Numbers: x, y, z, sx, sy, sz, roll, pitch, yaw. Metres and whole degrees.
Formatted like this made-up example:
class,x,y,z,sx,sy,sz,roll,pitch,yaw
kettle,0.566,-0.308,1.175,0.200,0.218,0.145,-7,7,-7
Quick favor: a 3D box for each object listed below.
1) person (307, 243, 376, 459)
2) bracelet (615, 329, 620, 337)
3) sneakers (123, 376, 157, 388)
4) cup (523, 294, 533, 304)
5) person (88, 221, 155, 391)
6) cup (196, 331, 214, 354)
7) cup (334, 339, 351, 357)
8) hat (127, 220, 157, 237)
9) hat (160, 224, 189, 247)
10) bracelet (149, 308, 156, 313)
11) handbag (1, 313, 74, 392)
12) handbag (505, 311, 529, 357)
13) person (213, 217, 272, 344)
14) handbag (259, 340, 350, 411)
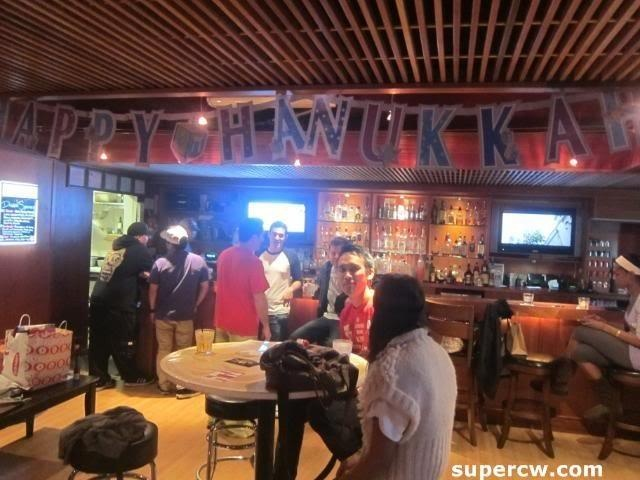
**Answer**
class,x,y,z,sx,sy,sz,roll,pitch,yaw
person,0.143,0.792,3.957,0.751,1.412,0.612,2,-1,-7
bracelet,2.920,0.910,4.718,0.045,0.046,0.012,21,-42,-4
sneakers,-2.218,1.727,5.995,0.359,0.164,0.133,0,0,-10
cup,2.365,0.654,5.426,0.110,0.121,0.121,1,-3,0
person,-2.463,0.774,6.010,0.726,2.002,0.380,1,-1,-20
cup,-0.852,0.750,3.647,0.158,0.183,0.162,0,0,0
cup,0.165,0.773,3.482,0.109,0.086,0.108,1,3,0
hat,-2.591,-0.172,7.046,0.265,0.219,0.384,10,7,41
hat,-1.754,-0.042,5.716,0.332,0.123,0.250,30,33,17
bracelet,-1.989,0.847,5.795,0.077,0.059,0.079,-3,6,-30
handbag,-2.301,0.942,3.951,0.467,0.493,0.306,1,-1,-35
handbag,2.031,0.964,4.981,0.168,0.455,0.459,-5,5,6
person,-0.785,0.405,4.921,0.557,1.264,0.268,0,-1,-6
handbag,-0.060,0.851,3.107,0.478,0.210,0.394,1,2,-5
